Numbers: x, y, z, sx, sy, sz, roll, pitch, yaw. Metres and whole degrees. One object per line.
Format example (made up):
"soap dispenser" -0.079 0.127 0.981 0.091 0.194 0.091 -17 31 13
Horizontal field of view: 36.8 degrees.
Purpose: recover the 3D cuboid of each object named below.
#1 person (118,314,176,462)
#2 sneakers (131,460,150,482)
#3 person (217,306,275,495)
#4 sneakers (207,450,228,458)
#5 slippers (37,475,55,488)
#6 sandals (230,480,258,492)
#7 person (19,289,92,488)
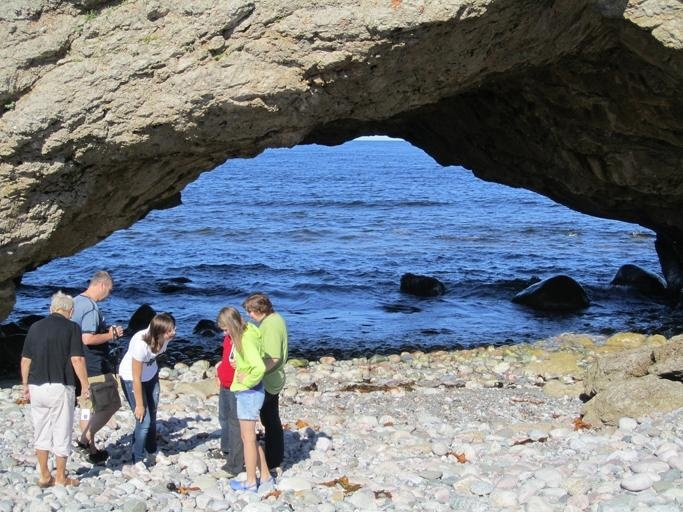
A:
"person" -3.003 2.092 16.022 0.874 2.412 0.725 -4 15 -11
"sneakers" -3.102 3.373 15.854 0.272 0.159 0.446 -6 14 -21
"person" -1.444 2.164 15.397 0.725 2.812 0.640 -2 15 -6
"sneakers" -1.964 3.178 16.415 0.335 0.101 0.171 8 -2 13
"slippers" -4.414 3.414 15.404 0.229 0.229 0.145 4 -2 11
"sandals" -1.480 3.521 15.544 0.438 0.134 0.154 8 19 7
"person" -4.293 2.051 15.433 0.919 2.793 1.011 -5 15 -16
